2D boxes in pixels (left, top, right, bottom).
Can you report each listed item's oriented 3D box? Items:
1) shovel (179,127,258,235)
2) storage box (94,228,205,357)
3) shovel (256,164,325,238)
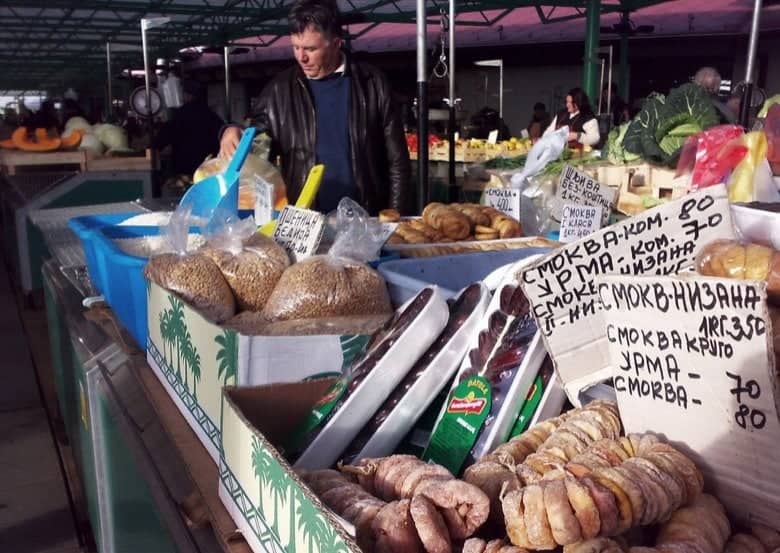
[{"bbox_3d":[-0.531,-0.307,1.649,0.219,0.285,0.326,-4,13,-2],"label":"shovel"},{"bbox_3d":[-0.776,0.012,1.638,0.302,0.155,0.426,-13,34,-28],"label":"storage box"},{"bbox_3d":[-0.290,-0.197,1.653,0.144,0.281,0.049,22,-15,23],"label":"shovel"}]
